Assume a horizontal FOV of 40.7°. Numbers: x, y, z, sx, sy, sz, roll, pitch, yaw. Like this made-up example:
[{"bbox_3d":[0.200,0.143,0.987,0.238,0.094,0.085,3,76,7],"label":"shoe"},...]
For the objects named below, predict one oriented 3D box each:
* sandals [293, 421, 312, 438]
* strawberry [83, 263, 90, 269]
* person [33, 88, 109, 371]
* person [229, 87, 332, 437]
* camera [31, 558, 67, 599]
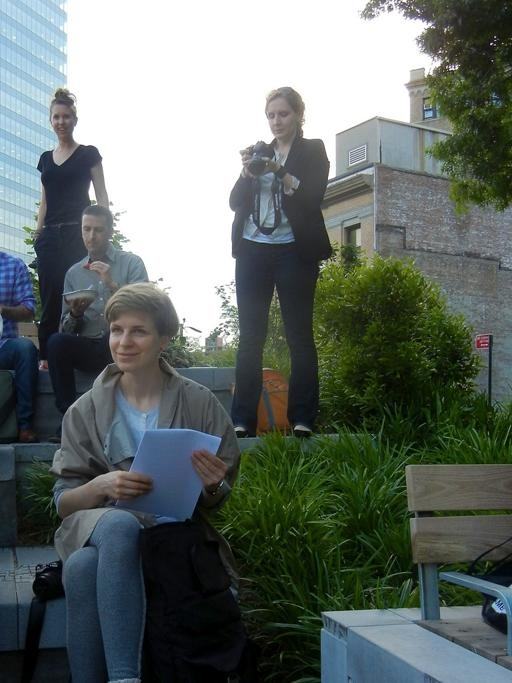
[{"bbox_3d":[0.281,0.541,4.276,0.105,0.082,0.079,-3,18,-8],"label":"sandals"},{"bbox_3d":[-1.084,-0.497,4.444,0.048,0.021,0.068,5,-14,-12],"label":"strawberry"},{"bbox_3d":[-1.367,-0.797,5.274,0.856,2.077,0.483,5,7,22],"label":"person"},{"bbox_3d":[0.159,-0.505,4.350,0.660,2.198,0.546,1,-6,-10],"label":"person"},{"bbox_3d":[-0.739,0.861,2.522,0.144,0.131,0.143,-1,-11,-1],"label":"camera"}]
